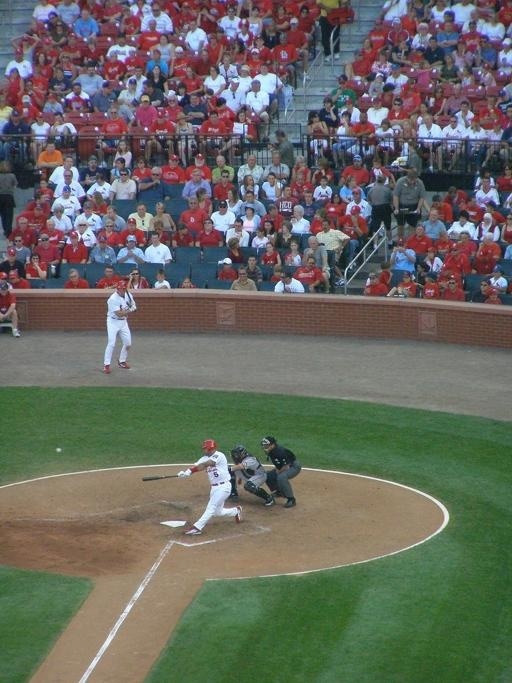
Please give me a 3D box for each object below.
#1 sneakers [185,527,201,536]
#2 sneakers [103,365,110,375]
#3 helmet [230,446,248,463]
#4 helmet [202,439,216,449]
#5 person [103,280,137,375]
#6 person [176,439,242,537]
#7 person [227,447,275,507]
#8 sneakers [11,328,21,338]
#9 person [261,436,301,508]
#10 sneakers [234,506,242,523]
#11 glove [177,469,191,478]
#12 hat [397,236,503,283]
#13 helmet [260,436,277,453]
[{"bbox_3d":[-0.796,2.377,16.654,0.196,0.141,0.271,-1,6,-2],"label":"sneakers"},{"bbox_3d":[-2.639,0.517,23.649,0.082,0.184,0.190,1,-3,-23],"label":"sneakers"},{"bbox_3d":[-0.264,1.497,17.390,0.226,0.203,0.186,5,9,12],"label":"helmet"},{"bbox_3d":[-0.598,1.307,16.650,0.147,0.104,0.178,-2,6,-5],"label":"helmet"},{"bbox_3d":[-2.447,-0.252,23.618,0.591,1.654,1.307,-2,6,-7],"label":"person"},{"bbox_3d":[-0.569,1.827,16.869,0.616,1.182,0.880,0,6,11],"label":"person"},{"bbox_3d":[-0.197,1.799,17.702,0.653,0.773,0.654,-9,7,-31],"label":"person"},{"bbox_3d":[-4.765,-0.150,26.348,0.172,0.214,0.505,0,-2,-15],"label":"sneakers"},{"bbox_3d":[0.317,1.731,17.711,0.470,0.966,0.657,-1,6,1],"label":"person"},{"bbox_3d":[-0.239,2.229,17.013,0.073,0.215,0.091,0,3,3],"label":"sneakers"},{"bbox_3d":[-0.926,1.682,16.668,0.167,0.067,0.218,-19,-4,-35],"label":"glove"},{"bbox_3d":[4.023,-1.640,25.935,1.189,0.705,0.737,8,-26,-12],"label":"hat"},{"bbox_3d":[0.155,1.381,17.488,0.174,0.221,0.292,-1,6,6],"label":"helmet"}]
